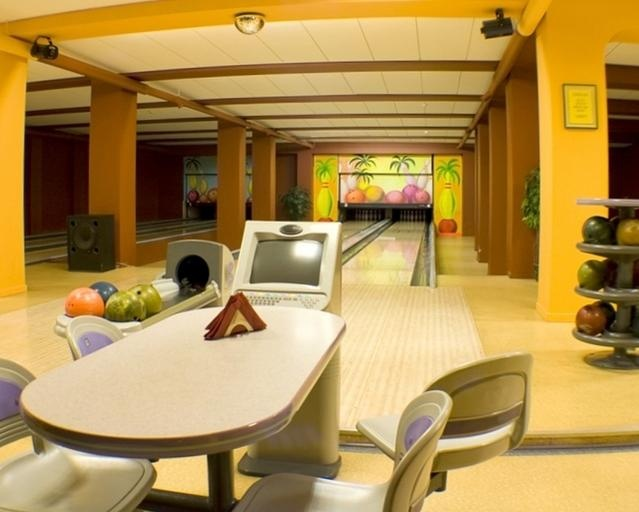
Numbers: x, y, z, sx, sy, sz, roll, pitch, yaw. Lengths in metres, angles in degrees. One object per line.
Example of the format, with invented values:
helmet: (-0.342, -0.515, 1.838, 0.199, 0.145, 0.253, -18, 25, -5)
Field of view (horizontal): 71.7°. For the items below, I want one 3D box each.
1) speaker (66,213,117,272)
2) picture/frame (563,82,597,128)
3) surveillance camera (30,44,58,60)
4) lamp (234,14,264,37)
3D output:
speaker: (-3.326, -0.179, 6.414, 0.629, 0.828, 0.371, 0, 2, -18)
picture/frame: (2.291, -1.326, 3.917, 0.391, 0.542, 0.027, -1, -2, -1)
surveillance camera: (-3.015, -2.254, 4.850, 0.259, 0.156, 0.224, -1, 3, -27)
lamp: (-0.637, -2.116, 4.011, 0.278, 0.144, 0.217, 0, 3, -10)
